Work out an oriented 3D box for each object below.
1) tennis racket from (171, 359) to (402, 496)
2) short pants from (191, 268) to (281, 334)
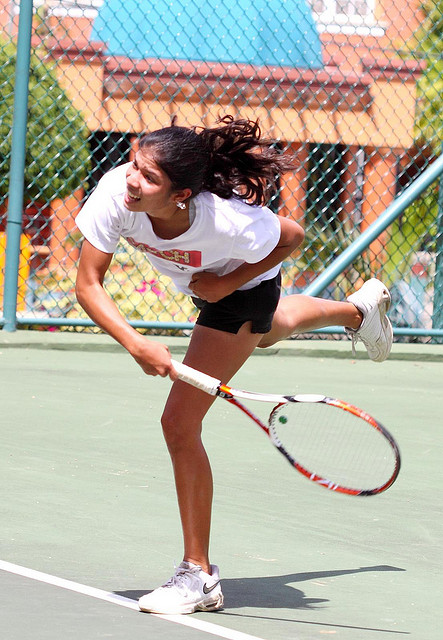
[{"bbox_3d":[0.085,0.234,1.864,0.957,0.239,0.069,24,11,39],"label":"tennis racket"},{"bbox_3d":[0.040,-0.047,1.787,0.221,0.154,0.230,-5,-21,44],"label":"short pants"}]
